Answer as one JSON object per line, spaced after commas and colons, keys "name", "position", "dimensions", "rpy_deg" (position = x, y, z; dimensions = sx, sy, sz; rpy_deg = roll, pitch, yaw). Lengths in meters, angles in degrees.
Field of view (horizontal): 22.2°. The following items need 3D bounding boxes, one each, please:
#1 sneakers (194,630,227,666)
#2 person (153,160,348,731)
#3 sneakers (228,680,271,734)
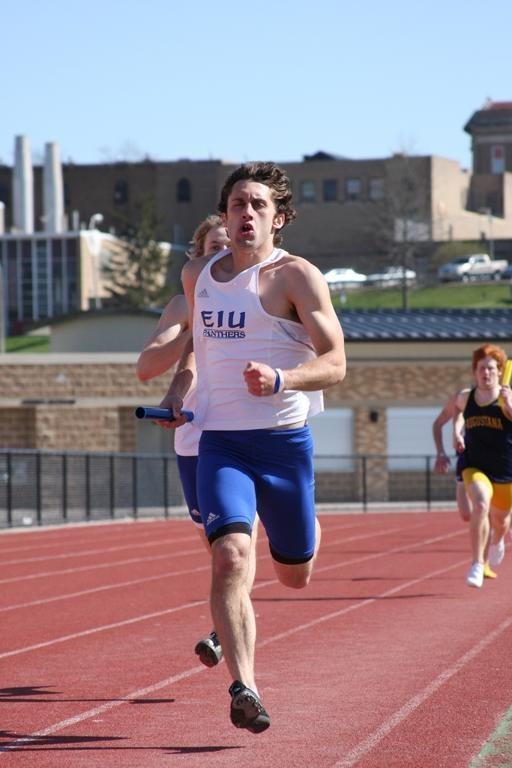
{"name": "sneakers", "position": [-0.188, 1.024, 5.069], "dimensions": [0.137, 0.098, 0.282], "rpy_deg": [-31, -4, -13]}
{"name": "person", "position": [0.044, 0.124, 4.336], "dimensions": [0.504, 1.781, 1.009], "rpy_deg": [-3, 3, -1]}
{"name": "sneakers", "position": [-0.017, 0.976, 3.922], "dimensions": [0.086, 0.183, 0.106], "rpy_deg": [-29, 34, 16]}
